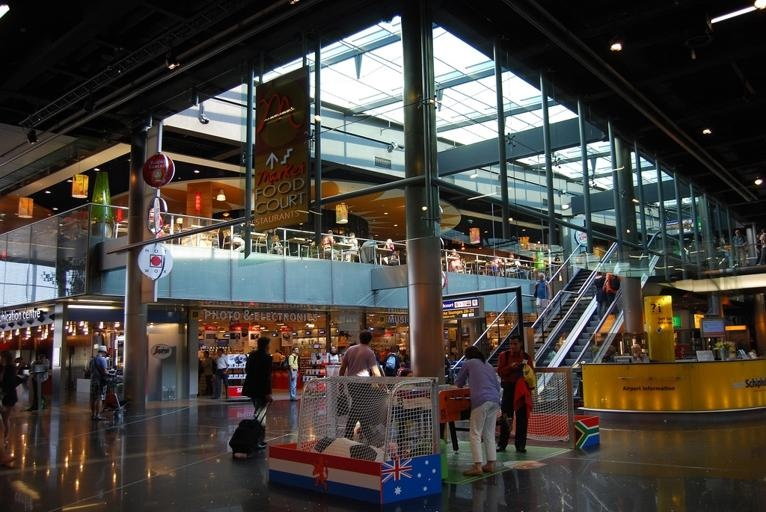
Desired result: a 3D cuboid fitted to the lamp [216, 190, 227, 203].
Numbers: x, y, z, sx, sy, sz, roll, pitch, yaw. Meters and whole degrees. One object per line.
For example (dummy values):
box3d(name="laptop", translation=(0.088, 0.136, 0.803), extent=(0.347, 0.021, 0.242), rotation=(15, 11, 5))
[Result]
box3d(name="lamp", translation=(-7.306, -2.753, 28.492), extent=(0.447, 0.440, 0.418), rotation=(2, -6, -10))

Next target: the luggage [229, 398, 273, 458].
box3d(name="luggage", translation=(-2.586, 3.430, 12.709), extent=(0.427, 1.301, 0.776), rotation=(-8, -36, 20))

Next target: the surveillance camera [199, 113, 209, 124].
box3d(name="surveillance camera", translation=(-5.972, -4.586, 21.017), extent=(0.340, 0.278, 0.215), rotation=(2, -8, -27))

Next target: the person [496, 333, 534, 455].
box3d(name="person", translation=(2.607, 2.712, 12.256), extent=(0.684, 2.170, 0.634), rotation=(-1, -5, 38))

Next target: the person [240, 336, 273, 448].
box3d(name="person", translation=(-2.517, 2.788, 13.023), extent=(0.720, 2.257, 0.744), rotation=(10, -23, -22))
